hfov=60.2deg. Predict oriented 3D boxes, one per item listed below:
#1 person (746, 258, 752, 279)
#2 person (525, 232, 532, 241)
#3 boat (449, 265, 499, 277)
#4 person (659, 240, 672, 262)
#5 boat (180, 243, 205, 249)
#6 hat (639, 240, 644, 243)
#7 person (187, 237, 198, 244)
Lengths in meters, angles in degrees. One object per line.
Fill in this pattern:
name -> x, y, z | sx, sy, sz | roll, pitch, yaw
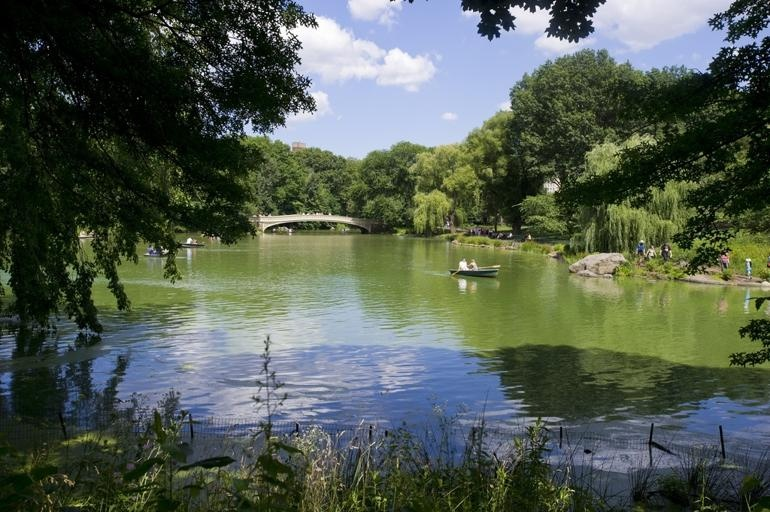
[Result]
person -> 21.005, 0.639, 38.266 | 0.389, 1.071, 1.920 | 4, 8, 28
person -> 15.803, -2.079, 72.897 | 0.701, 1.334, 2.504 | 0, 7, 13
boat -> 5.495, 1.034, 41.227 | 4.121, 0.750, 1.071 | -2, -2, 42
person -> 18.414, -0.286, 43.417 | 0.605, 1.000, 2.540 | 3, 7, 23
boat -> -19.700, -1.046, 68.094 | 1.923, 0.612, 3.425 | -1, 7, -9
hat -> 17.363, -0.953, 44.921 | 0.285, 0.070, 0.265 | -15, 17, -36
person -> -20.058, -1.499, 68.412 | 0.988, 0.760, 1.395 | -2, 2, -17
